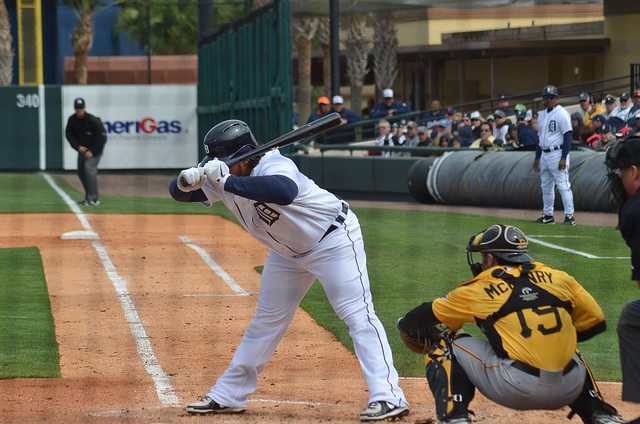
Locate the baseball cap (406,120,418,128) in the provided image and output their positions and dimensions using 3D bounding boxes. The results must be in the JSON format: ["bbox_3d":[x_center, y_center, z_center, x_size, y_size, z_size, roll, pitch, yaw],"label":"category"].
[{"bbox_3d":[2.398,-2.309,29.654,0.272,0.141,0.420,2,-2,21],"label":"baseball cap"}]

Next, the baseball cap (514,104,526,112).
[{"bbox_3d":[5.067,-2.644,28.715,0.353,0.219,0.500,3,3,6],"label":"baseball cap"}]

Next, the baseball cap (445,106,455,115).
[{"bbox_3d":[3.499,-2.748,30.650,0.261,0.167,0.408,1,5,9],"label":"baseball cap"}]

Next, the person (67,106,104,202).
[{"bbox_3d":[-5.210,-1.383,25.815,0.755,1.768,0.858,0,1,13],"label":"person"}]
